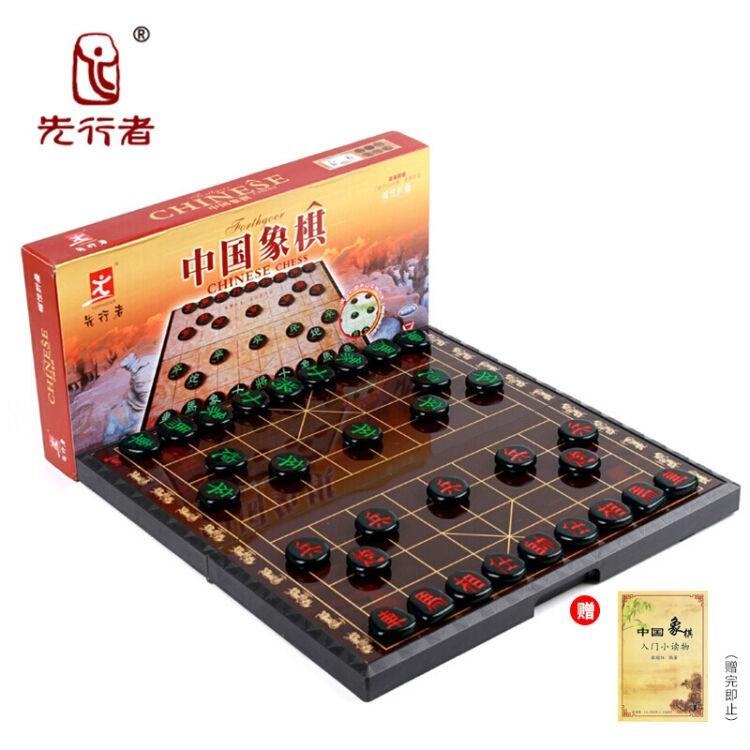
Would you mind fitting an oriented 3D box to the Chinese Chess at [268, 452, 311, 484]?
[{"bbox_3d":[-0.540,0.593,4.998,0.241,0.234,0.180,17,-31,-30],"label":"Chinese Chess"}]

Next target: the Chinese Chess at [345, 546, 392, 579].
[{"bbox_3d":[-0.041,1.000,4.157,0.229,0.195,0.161,-1,-27,5],"label":"Chinese Chess"}]

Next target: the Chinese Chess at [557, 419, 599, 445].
[{"bbox_3d":[1.382,0.396,5.329,0.269,0.224,0.150,-4,-28,12],"label":"Chinese Chess"}]

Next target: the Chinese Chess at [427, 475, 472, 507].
[{"bbox_3d":[0.442,0.710,4.752,0.261,0.207,0.141,0,-27,4],"label":"Chinese Chess"}]

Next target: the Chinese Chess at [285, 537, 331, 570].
[{"bbox_3d":[-0.365,0.966,4.210,0.237,0.194,0.128,3,-27,-3],"label":"Chinese Chess"}]

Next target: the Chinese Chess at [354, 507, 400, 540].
[{"bbox_3d":[0.006,0.854,4.477,0.250,0.215,0.170,1,-27,0],"label":"Chinese Chess"}]

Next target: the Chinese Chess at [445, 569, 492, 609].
[{"bbox_3d":[0.484,1.084,3.937,0.195,0.172,0.035,-6,-71,-14],"label":"Chinese Chess"}]

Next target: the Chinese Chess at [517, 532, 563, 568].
[{"bbox_3d":[0.880,0.952,4.221,0.192,0.191,0.037,15,-63,35],"label":"Chinese Chess"}]

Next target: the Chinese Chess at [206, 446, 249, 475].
[{"bbox_3d":[-0.968,0.547,5.041,0.220,0.176,0.047,1,-66,-9],"label":"Chinese Chess"}]

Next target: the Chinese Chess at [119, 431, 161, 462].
[{"bbox_3d":[-1.573,0.477,5.166,0.226,0.198,0.055,10,-67,18],"label":"Chinese Chess"}]

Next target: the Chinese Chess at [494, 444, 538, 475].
[{"bbox_3d":[0.918,0.553,5.064,0.279,0.240,0.172,0,-27,4],"label":"Chinese Chess"}]

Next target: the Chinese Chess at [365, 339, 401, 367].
[{"bbox_3d":[0.059,-0.178,6.233,0.265,0.228,0.048,-8,-62,-14],"label":"Chinese Chess"}]

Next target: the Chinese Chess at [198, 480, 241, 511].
[{"bbox_3d":[-0.948,0.731,4.722,0.251,0.226,0.142,6,-28,-9],"label":"Chinese Chess"}]

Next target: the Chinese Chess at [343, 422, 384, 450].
[{"bbox_3d":[-0.088,0.415,5.341,0.263,0.257,0.189,0,-27,3],"label":"Chinese Chess"}]

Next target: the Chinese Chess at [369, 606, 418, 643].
[{"bbox_3d":[0.082,1.191,3.684,0.227,0.172,0.119,1,-27,1],"label":"Chinese Chess"}]

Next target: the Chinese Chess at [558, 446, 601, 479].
[{"bbox_3d":[1.313,0.561,5.021,0.257,0.230,0.158,-4,-28,12],"label":"Chinese Chess"}]

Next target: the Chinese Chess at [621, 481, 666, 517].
[{"bbox_3d":[1.599,0.737,4.663,0.223,0.199,0.041,-17,-61,-30],"label":"Chinese Chess"}]
